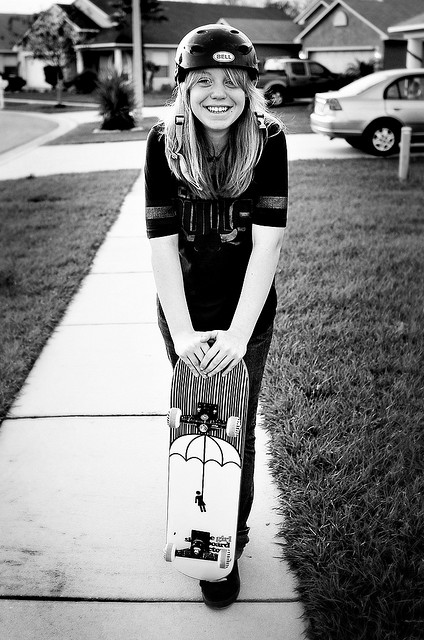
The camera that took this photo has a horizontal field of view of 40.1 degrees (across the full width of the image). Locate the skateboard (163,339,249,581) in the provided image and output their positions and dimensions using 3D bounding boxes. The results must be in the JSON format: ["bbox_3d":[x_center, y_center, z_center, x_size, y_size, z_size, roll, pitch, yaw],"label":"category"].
[{"bbox_3d":[-0.019,0.422,1.718,0.218,0.883,0.118,5,25,5],"label":"skateboard"}]

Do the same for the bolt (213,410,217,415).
[{"bbox_3d":[0.007,0.266,1.668,0.011,0.010,0.006,-5,17,-18],"label":"bolt"}]

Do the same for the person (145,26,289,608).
[{"bbox_3d":[0.024,-0.312,1.646,0.356,0.957,0.326,-14,22,-43],"label":"person"}]

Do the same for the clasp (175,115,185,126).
[{"bbox_3d":[-0.089,-0.532,1.560,0.027,0.033,0.013,-1,-1,-8],"label":"clasp"}]

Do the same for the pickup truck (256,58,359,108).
[{"bbox_3d":[1.554,-4.157,10.247,1.260,0.818,2.643,1,19,-2],"label":"pickup truck"}]

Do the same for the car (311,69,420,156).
[{"bbox_3d":[2.606,-3.412,9.614,1.811,0.767,0.889,-10,37,0],"label":"car"}]

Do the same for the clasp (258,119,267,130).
[{"bbox_3d":[0.136,-0.530,1.586,0.023,0.026,0.035,2,18,2],"label":"clasp"}]

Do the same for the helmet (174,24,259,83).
[{"bbox_3d":[0.009,-0.746,1.627,0.201,0.185,0.295,-9,27,-17],"label":"helmet"}]

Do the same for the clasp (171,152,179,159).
[{"bbox_3d":[-0.099,-0.432,1.541,0.021,0.016,0.010,-5,17,-18],"label":"clasp"}]

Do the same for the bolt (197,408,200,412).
[{"bbox_3d":[-0.040,0.260,1.670,0.009,0.011,0.002,3,3,9],"label":"bolt"}]
